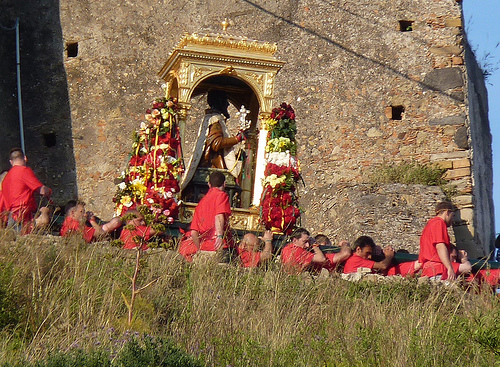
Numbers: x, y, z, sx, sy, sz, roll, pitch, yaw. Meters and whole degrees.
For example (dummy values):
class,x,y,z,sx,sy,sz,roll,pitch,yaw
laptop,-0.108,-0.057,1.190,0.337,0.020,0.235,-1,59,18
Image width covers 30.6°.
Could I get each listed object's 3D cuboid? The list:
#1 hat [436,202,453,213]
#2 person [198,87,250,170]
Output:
class,x,y,z,sx,sy,sz,roll,pitch,yaw
hat,3.642,0.445,17.037,0.241,0.218,0.191,-4,-2,-14
person,-0.532,-1.161,19.384,0.914,1.841,0.509,1,-13,8
